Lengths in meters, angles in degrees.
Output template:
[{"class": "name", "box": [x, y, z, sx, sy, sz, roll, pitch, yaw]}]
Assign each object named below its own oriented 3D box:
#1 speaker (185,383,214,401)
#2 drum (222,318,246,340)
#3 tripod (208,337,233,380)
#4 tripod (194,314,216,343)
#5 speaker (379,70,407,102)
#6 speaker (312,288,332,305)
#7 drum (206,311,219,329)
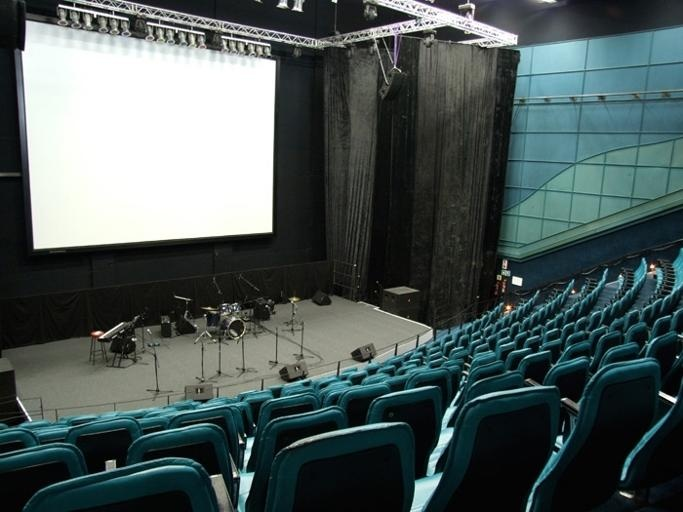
[{"class": "speaker", "box": [-2.311, 2.245, 8.245, 0.429, 0.259, 0.414, -3, -4, -13]}, {"class": "drum", "box": [-2.449, 1.667, 11.509, 0.505, 0.497, 0.378, 11, 12, -36]}, {"class": "tripod", "box": [-2.659, 2.309, 11.161, 0.562, 0.834, 0.542, 7, 15, 28]}, {"class": "tripod", "box": [-3.368, 1.853, 12.573, 0.539, 0.521, 0.478, 16, 20, 10]}, {"class": "speaker", "box": [1.191, -3.898, 11.460, 0.438, 0.648, 0.573, 0, 13, -6]}, {"class": "speaker", "box": [-0.583, 1.316, 15.761, 0.454, 0.333, 0.499, -6, 11, -28]}, {"class": "drum", "box": [-2.998, 1.474, 11.949, 0.335, 0.338, 0.338, 19, 25, 31]}]
